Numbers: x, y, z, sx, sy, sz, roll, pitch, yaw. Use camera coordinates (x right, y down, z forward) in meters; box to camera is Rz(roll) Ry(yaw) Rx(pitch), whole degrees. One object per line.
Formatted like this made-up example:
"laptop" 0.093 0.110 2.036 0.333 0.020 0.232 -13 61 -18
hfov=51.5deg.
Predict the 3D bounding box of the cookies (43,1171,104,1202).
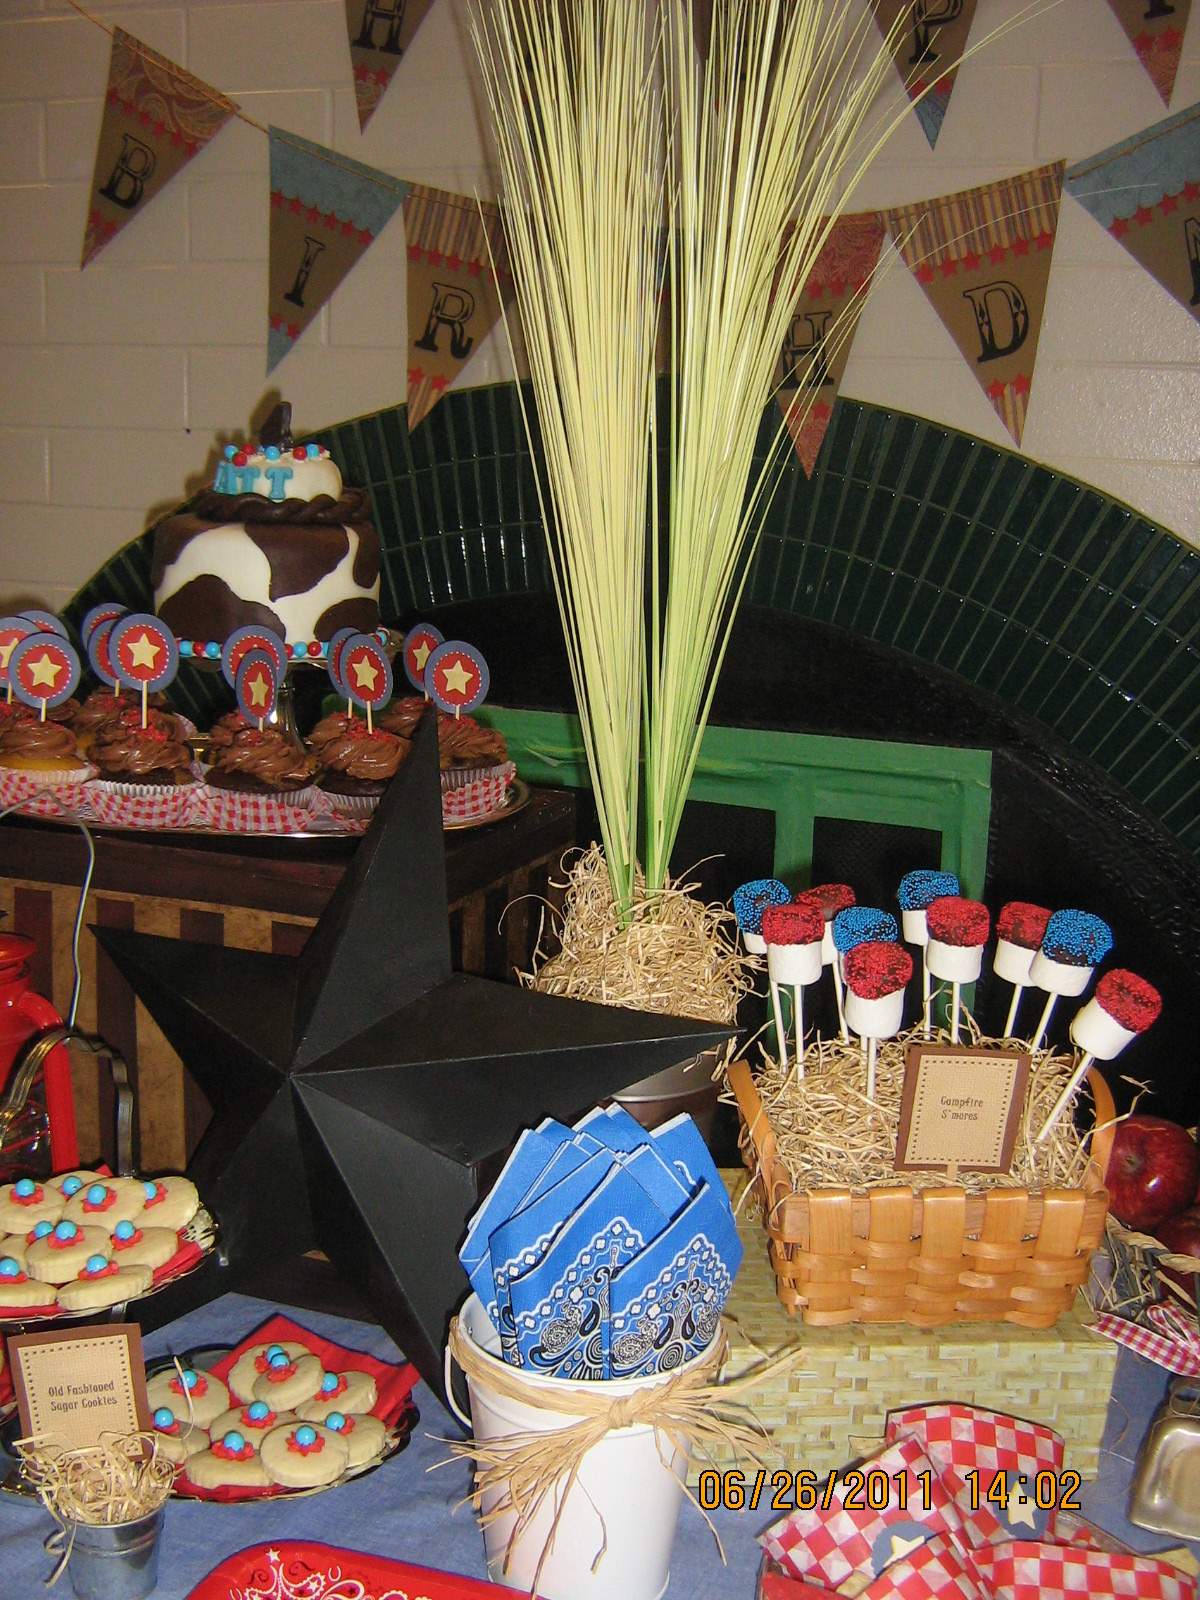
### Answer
"cookies" -0.378 0.276 0.892 0.026 0.009 0.025 2 9 -8

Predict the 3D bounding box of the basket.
"basket" 0.261 0.283 1.021 0.267 0.137 0.337 -3 11 9

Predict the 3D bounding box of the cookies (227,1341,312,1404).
"cookies" -0.260 0.444 0.971 0.039 0.021 0.038 -2 -3 2

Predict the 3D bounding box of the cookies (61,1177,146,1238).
"cookies" -0.343 0.278 0.853 0.033 0.013 0.032 1 17 -2

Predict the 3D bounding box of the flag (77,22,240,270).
"flag" -0.843 -1.234 2.356 0.239 0.372 0.006 29 13 1

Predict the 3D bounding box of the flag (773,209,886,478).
"flag" 0.333 -0.744 1.981 0.197 0.018 0.548 -17 -6 -4

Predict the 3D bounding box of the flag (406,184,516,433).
"flag" -0.255 -0.853 2.257 0.280 0.434 0.009 15 20 7

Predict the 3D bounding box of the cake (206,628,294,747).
"cake" -0.369 -0.130 1.451 0.128 0.135 0.130 1 11 -8

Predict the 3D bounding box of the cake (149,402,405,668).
"cake" -0.426 -0.364 1.646 0.292 0.290 0.292 13 25 16

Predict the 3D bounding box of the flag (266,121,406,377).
"flag" -0.462 -1.000 2.227 0.395 0.435 0.027 17 20 27

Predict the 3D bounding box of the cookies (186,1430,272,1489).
"cookies" -0.260 0.467 0.876 0.037 0.021 0.036 3 -6 -2

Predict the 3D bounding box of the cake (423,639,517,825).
"cake" -0.169 -0.084 1.491 0.102 0.195 0.114 -3 8 -30

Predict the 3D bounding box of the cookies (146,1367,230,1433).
"cookies" -0.306 0.448 0.931 0.046 0.029 0.044 3 19 -20

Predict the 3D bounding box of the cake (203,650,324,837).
"cake" -0.383 -0.037 1.408 0.139 0.236 0.139 2 12 -6

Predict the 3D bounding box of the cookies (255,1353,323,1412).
"cookies" -0.235 0.441 0.945 0.035 0.020 0.035 -26 5 13

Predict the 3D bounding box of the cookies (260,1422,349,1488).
"cookies" -0.211 0.464 0.889 0.058 0.024 0.059 -3 18 -16

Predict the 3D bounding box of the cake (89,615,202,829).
"cake" -0.511 -0.090 1.405 0.111 0.227 0.114 1 2 -14
